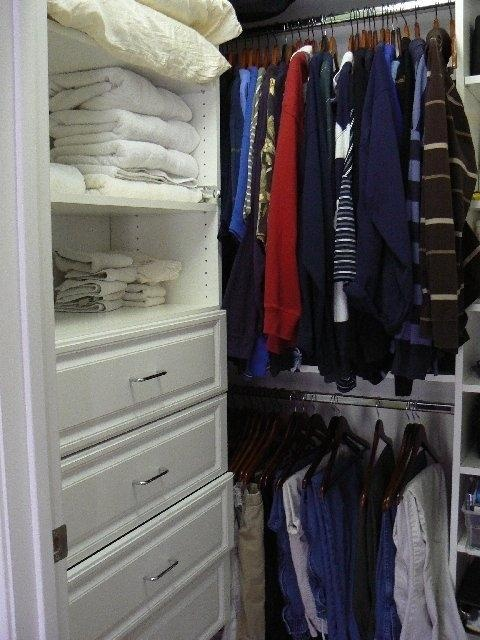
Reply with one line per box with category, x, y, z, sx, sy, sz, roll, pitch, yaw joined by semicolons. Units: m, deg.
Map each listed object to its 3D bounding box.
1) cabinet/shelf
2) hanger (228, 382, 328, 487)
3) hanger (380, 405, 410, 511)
cabinet/shelf;0.372;0.061;1.343;0.525;1.666;0.273;-3;6;7
hanger;0.081;0.386;1.682;0.220;0.131;0.294;-4;7;-44
hanger;0.466;0.416;1.506;0.033;0.074;0.537;-1;24;15
